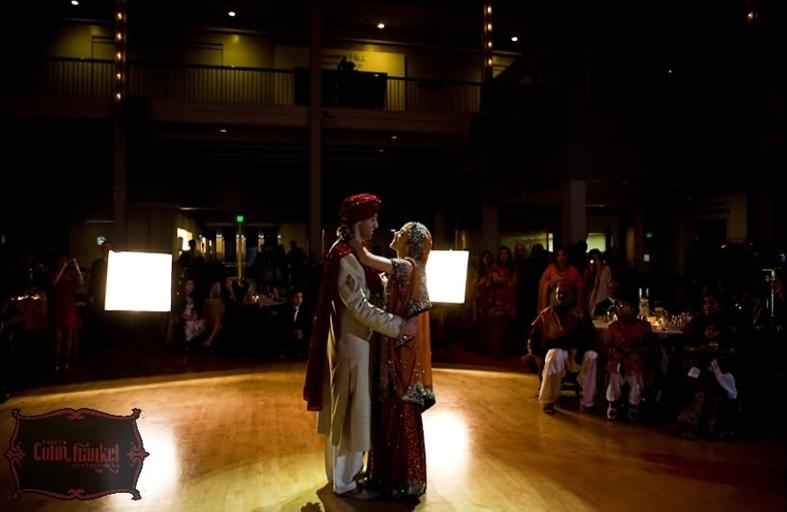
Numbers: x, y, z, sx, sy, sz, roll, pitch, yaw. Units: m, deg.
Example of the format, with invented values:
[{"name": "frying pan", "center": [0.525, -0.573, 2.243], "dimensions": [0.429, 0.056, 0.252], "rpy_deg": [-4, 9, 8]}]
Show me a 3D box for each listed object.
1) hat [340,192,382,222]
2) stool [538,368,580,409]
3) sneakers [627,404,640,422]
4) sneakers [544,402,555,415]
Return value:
[{"name": "hat", "center": [-0.346, -0.508, 6.436], "dimensions": [0.336, 0.210, 0.285], "rpy_deg": [-6, 5, -7]}, {"name": "stool", "center": [2.259, 1.815, 8.363], "dimensions": [0.401, 0.453, 0.240], "rpy_deg": [-10, 9, 13]}, {"name": "sneakers", "center": [3.135, 2.039, 7.953], "dimensions": [0.165, 0.210, 0.097], "rpy_deg": [2, 14, 8]}, {"name": "sneakers", "center": [2.110, 2.056, 8.226], "dimensions": [0.117, 0.136, 0.132], "rpy_deg": [-5, -1, -40]}]
